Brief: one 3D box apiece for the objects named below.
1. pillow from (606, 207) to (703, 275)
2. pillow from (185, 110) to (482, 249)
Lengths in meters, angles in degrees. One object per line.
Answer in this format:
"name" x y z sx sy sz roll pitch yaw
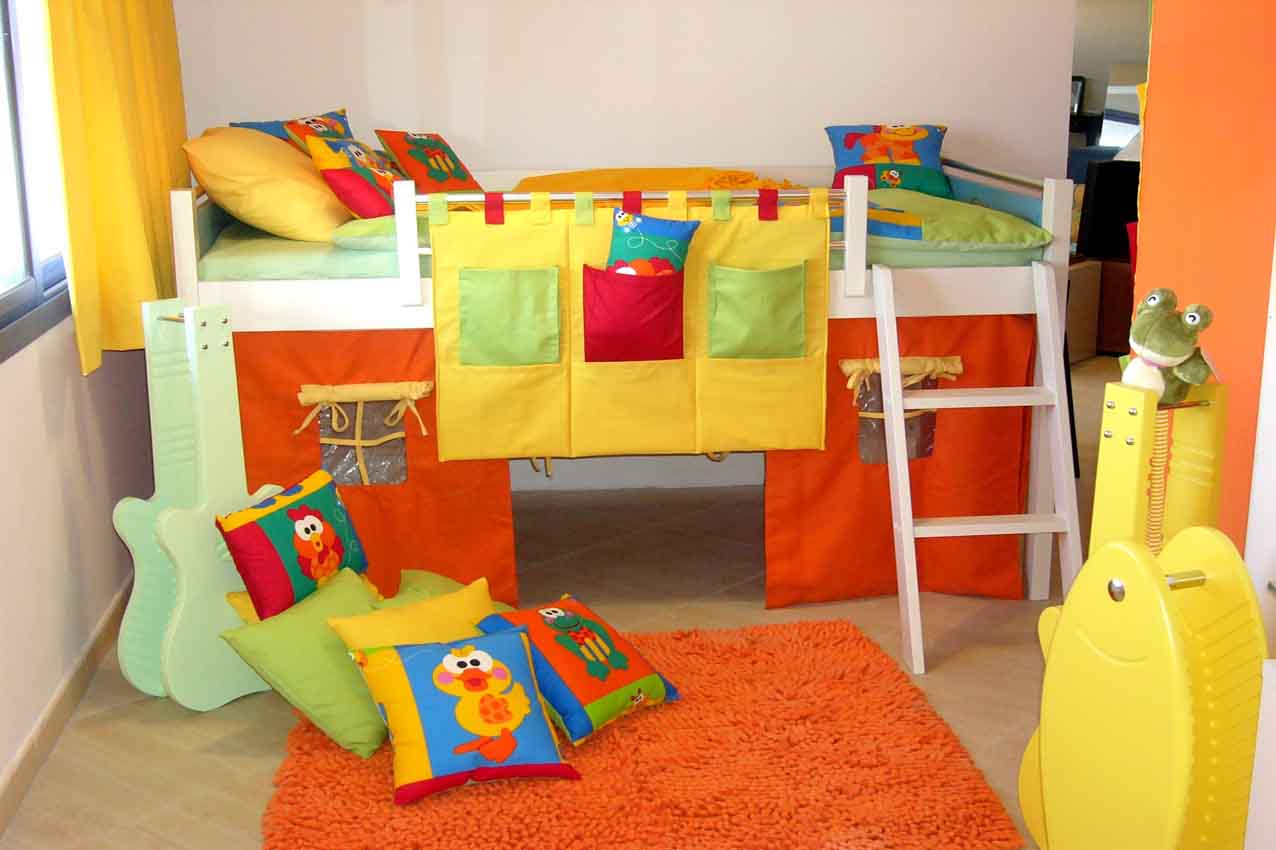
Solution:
"pillow" 0.034 -0.565 3.124 0.226 0.203 0.065 7 16 1
"pillow" -1.063 -0.832 3.456 0.773 0.222 0.751 5 24 -25
